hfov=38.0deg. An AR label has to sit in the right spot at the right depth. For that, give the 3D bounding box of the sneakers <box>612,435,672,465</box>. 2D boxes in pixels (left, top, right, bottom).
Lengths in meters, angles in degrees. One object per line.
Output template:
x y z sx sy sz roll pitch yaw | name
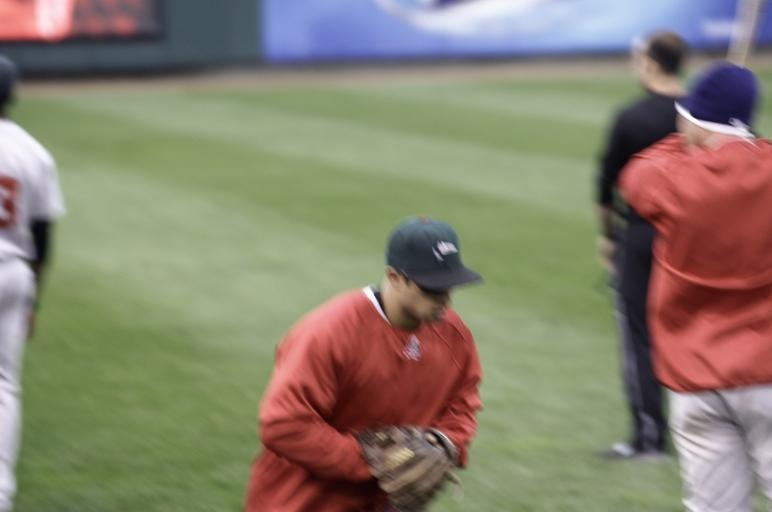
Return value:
1.674 1.307 7.448 0.433 0.187 0.135 -3 1 15 | sneakers

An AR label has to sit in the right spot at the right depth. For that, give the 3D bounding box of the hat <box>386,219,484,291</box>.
0.236 -0.036 6.181 0.470 0.282 0.351 19 19 33 | hat

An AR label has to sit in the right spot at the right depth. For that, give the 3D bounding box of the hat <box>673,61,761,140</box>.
1.878 -0.867 6.233 0.338 0.260 0.449 28 9 -29 | hat
